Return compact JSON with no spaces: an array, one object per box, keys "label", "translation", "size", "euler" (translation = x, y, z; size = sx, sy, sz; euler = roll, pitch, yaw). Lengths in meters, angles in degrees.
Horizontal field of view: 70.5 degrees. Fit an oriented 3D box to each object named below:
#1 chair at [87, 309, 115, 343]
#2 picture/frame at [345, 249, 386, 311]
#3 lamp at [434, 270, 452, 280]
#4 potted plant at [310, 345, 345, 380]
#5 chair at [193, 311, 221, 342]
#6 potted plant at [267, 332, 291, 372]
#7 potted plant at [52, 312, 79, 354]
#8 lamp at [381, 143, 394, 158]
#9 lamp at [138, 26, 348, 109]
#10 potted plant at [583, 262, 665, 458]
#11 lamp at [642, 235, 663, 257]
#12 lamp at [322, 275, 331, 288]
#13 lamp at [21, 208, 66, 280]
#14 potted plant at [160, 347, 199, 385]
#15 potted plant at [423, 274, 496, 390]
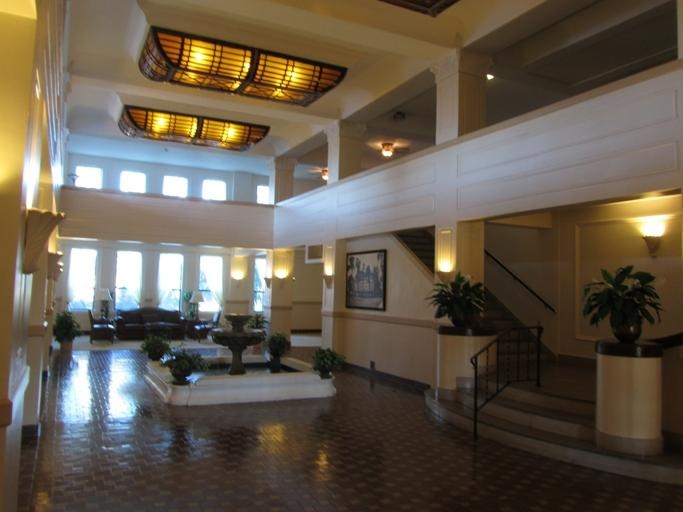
[{"label":"chair","translation":[-8.263,2.428,16.650],"size":[1.062,1.379,0.998],"euler":[1,-3,-20]},{"label":"picture/frame","translation":[0.659,0.627,12.258],"size":[0.120,1.655,1.622],"euler":[0,0,-32]},{"label":"lamp","translation":[2.002,0.391,9.410],"size":[0.200,0.137,0.182],"euler":[0,-2,-22]},{"label":"potted plant","translation":[-0.345,2.130,9.830],"size":[0.641,0.706,0.549],"euler":[4,5,41]},{"label":"chair","translation":[-5.271,2.775,18.520],"size":[1.094,0.893,0.885],"euler":[0,-3,-22]},{"label":"potted plant","translation":[-1.477,2.263,11.191],"size":[0.378,0.881,0.694],"euler":[0,-3,-14]},{"label":"potted plant","translation":[-7.916,2.216,13.934],"size":[0.641,1.181,0.477],"euler":[1,-3,-31]},{"label":"lamp","translation":[1.532,-3.439,15.689],"size":[0.345,0.262,0.351],"euler":[1,4,-3]},{"label":"lamp","translation":[-1.949,-3.863,9.991],"size":[3.014,0.421,1.727],"euler":[5,-15,-32]},{"label":"potted plant","translation":[3.945,1.329,6.734],"size":[0.879,2.342,2.075],"euler":[-2,-3,30]},{"label":"lamp","translation":[5.617,-0.169,8.671],"size":[0.320,0.345,0.304],"euler":[2,1,-42]},{"label":"lamp","translation":[-0.349,0.711,13.169],"size":[0.109,0.366,0.500],"euler":[0,-3,-22]},{"label":"lamp","translation":[-2.788,-0.135,4.515],"size":[0.314,0.597,0.577],"euler":[0,-3,-30]},{"label":"potted plant","translation":[-2.955,2.037,8.977],"size":[0.640,0.639,0.648],"euler":[2,-10,-9]},{"label":"potted plant","translation":[2.245,1.383,9.103],"size":[1.008,2.132,1.165],"euler":[-1,-3,11]}]
